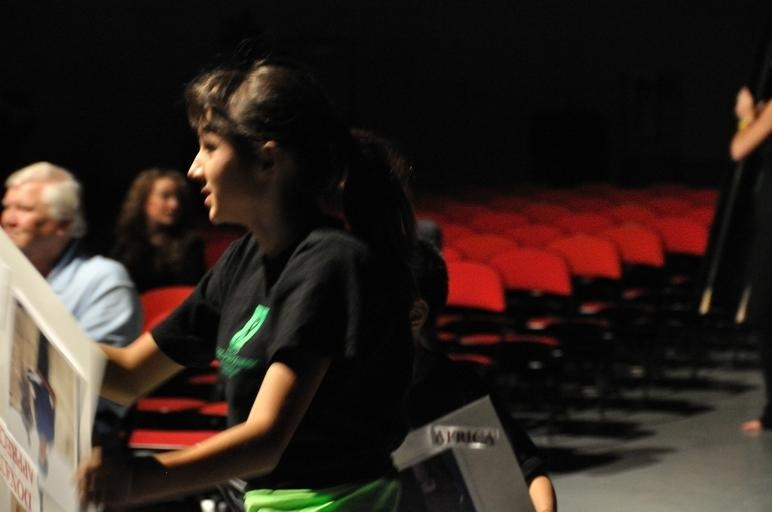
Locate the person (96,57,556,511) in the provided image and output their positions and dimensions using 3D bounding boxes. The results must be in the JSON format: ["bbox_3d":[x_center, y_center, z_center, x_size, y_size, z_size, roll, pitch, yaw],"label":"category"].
[{"bbox_3d":[-0.210,0.037,1.638,0.642,0.795,0.457,-2,3,-11],"label":"person"}]
